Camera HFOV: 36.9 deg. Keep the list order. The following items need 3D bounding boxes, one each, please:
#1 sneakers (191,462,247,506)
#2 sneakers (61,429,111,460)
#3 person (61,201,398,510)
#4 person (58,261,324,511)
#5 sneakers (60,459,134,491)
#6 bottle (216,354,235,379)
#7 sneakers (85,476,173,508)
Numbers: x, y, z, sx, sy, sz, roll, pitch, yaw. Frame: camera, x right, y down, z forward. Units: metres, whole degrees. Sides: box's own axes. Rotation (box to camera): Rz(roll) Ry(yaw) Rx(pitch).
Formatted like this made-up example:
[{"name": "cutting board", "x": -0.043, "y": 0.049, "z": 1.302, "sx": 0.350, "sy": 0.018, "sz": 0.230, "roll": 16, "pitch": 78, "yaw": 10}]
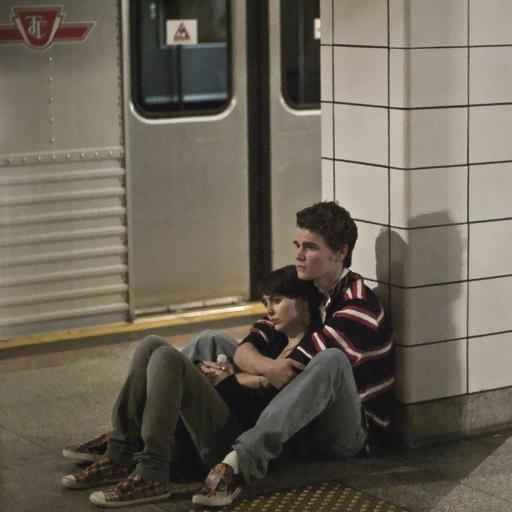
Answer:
[{"name": "sneakers", "x": -0.129, "y": 0.902, "z": 3.072, "sx": 0.095, "sy": 0.156, "sz": 0.305, "roll": 0, "pitch": -4, "yaw": 28}, {"name": "sneakers", "x": -0.749, "y": 0.877, "z": 3.520, "sx": 0.309, "sy": 0.152, "sz": 0.116, "roll": 3, "pitch": -7, "yaw": -5}, {"name": "person", "x": -0.099, "y": 0.390, "z": 3.428, "sx": 1.306, "sy": 1.184, "sz": 1.041, "roll": 2, "pitch": 1, "yaw": -29}, {"name": "person", "x": -0.306, "y": 0.519, "z": 3.366, "sx": 1.088, "sy": 0.885, "sz": 0.607, "roll": -6, "pitch": 8, "yaw": -31}, {"name": "sneakers", "x": -0.664, "y": 0.896, "z": 3.291, "sx": 0.331, "sy": 0.161, "sz": 0.127, "roll": -3, "pitch": 3, "yaw": -20}, {"name": "bottle", "x": -0.139, "y": 0.512, "z": 3.512, "sx": 0.058, "sy": 0.086, "sz": 0.108, "roll": -1, "pitch": -36, "yaw": 4}, {"name": "sneakers", "x": -0.498, "y": 0.914, "z": 3.084, "sx": 0.340, "sy": 0.165, "sz": 0.130, "roll": 1, "pitch": -1, "yaw": -11}]
